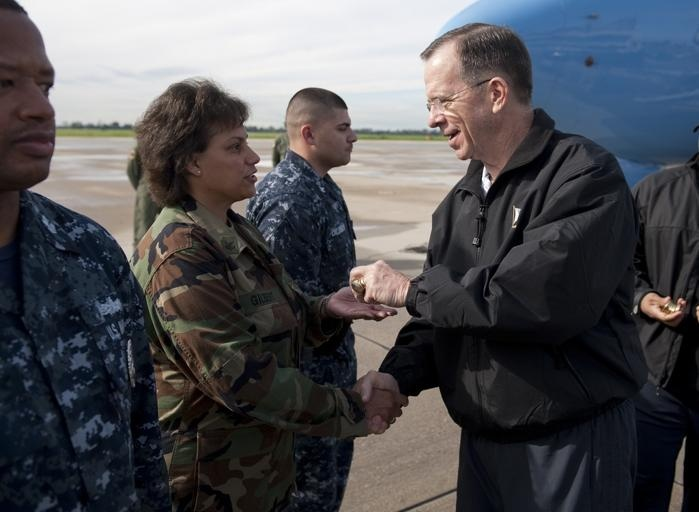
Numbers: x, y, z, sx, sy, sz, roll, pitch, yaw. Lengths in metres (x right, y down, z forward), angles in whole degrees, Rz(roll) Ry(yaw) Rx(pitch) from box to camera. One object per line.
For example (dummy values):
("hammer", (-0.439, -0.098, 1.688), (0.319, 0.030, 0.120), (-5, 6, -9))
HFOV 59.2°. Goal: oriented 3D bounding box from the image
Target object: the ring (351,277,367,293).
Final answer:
("ring", (0.048, 0.142, 2.940), (0.068, 0.061, 0.037), (36, -49, -28))
